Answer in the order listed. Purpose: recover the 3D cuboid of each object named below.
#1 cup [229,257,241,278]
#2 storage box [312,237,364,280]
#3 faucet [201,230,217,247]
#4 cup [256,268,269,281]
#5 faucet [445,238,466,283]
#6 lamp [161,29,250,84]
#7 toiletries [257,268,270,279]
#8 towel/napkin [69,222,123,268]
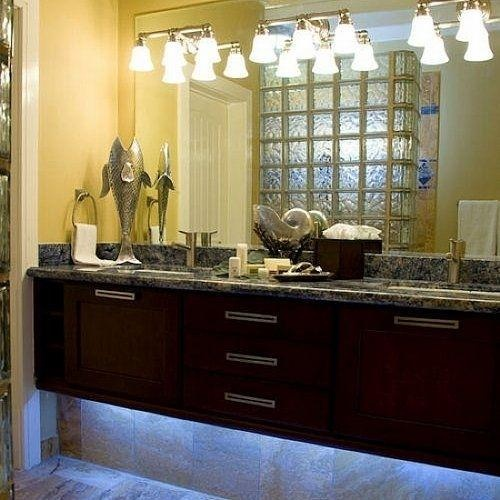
[{"bbox_3d":[-0.062,0.068,1.958,0.050,0.079,0.084,0,5,-2],"label":"cup"},{"bbox_3d":[0.373,0.035,2.013,0.155,0.192,0.172,0,1,31],"label":"storage box"},{"bbox_3d":[-0.219,-0.065,2.484,0.086,0.111,0.053,1,1,16],"label":"faucet"},{"bbox_3d":[0.054,0.093,1.912,0.033,0.037,0.038,1,-2,9],"label":"cup"},{"bbox_3d":[0.827,0.043,1.885,0.062,0.170,0.095,2,6,26],"label":"faucet"},{"bbox_3d":[-0.241,-0.995,2.511,0.302,0.192,0.338,9,21,18],"label":"lamp"},{"bbox_3d":[0.055,0.092,1.919,0.033,0.036,0.037,2,-2,-16],"label":"toiletries"},{"bbox_3d":[-0.824,-0.036,2.538,0.190,0.250,0.246,1,-1,14],"label":"towel/napkin"}]
